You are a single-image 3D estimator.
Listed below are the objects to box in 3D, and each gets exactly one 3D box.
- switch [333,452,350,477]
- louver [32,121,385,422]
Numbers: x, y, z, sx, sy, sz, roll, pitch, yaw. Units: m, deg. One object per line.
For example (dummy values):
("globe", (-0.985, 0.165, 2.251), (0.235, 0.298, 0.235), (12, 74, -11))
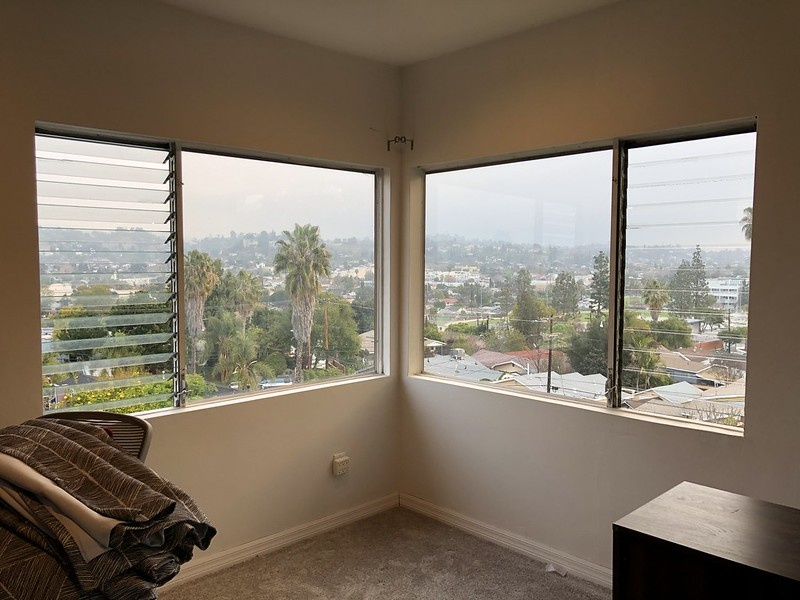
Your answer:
("switch", (-0.400, 1.083, 3.580), (0.056, 0.175, 0.164), (1, 2, 35))
("louver", (-1.151, -0.172, 3.099), (1.869, 1.335, 0.263), (-1, 2, -44))
